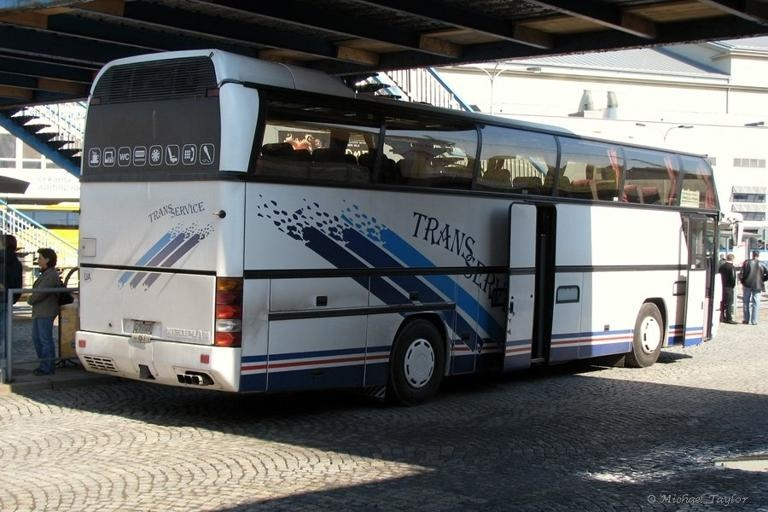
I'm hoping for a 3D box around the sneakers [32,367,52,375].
[{"bbox_3d":[-5.944,2.009,14.002,0.231,0.069,0.132,2,0,14],"label":"sneakers"}]

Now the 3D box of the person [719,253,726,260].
[{"bbox_3d":[12.328,0.045,29.268,0.204,0.177,0.728,1,9,15],"label":"person"}]

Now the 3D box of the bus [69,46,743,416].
[{"bbox_3d":[1.621,-0.313,15.343,13.614,5.363,2.893,-1,5,-38],"label":"bus"}]

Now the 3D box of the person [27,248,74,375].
[{"bbox_3d":[-5.885,0.969,14.213,0.687,2.160,0.843,0,4,-22],"label":"person"}]
